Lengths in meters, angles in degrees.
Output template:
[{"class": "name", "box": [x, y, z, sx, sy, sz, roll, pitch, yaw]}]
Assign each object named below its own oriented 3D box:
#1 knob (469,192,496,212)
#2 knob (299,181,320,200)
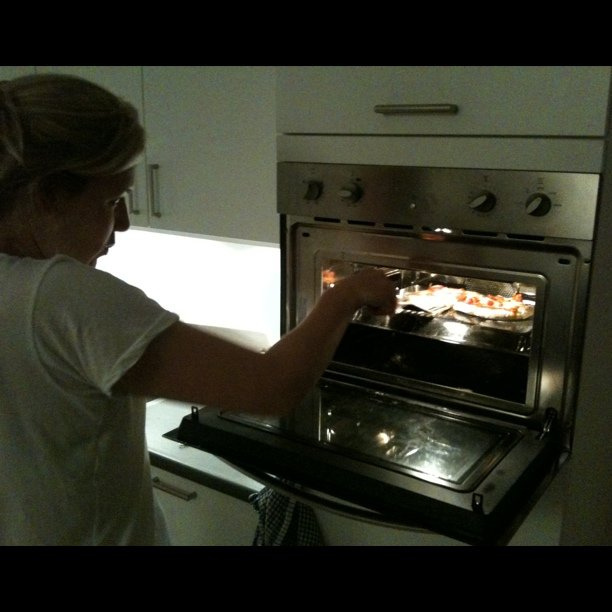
[{"class": "knob", "box": [0.225, -0.133, 0.754, 0.026, 0.025, 0.019, 4, 11, -24]}, {"class": "knob", "box": [0.006, -0.165, 0.844, 0.030, 0.025, 0.008, 7, 12, 22]}]
